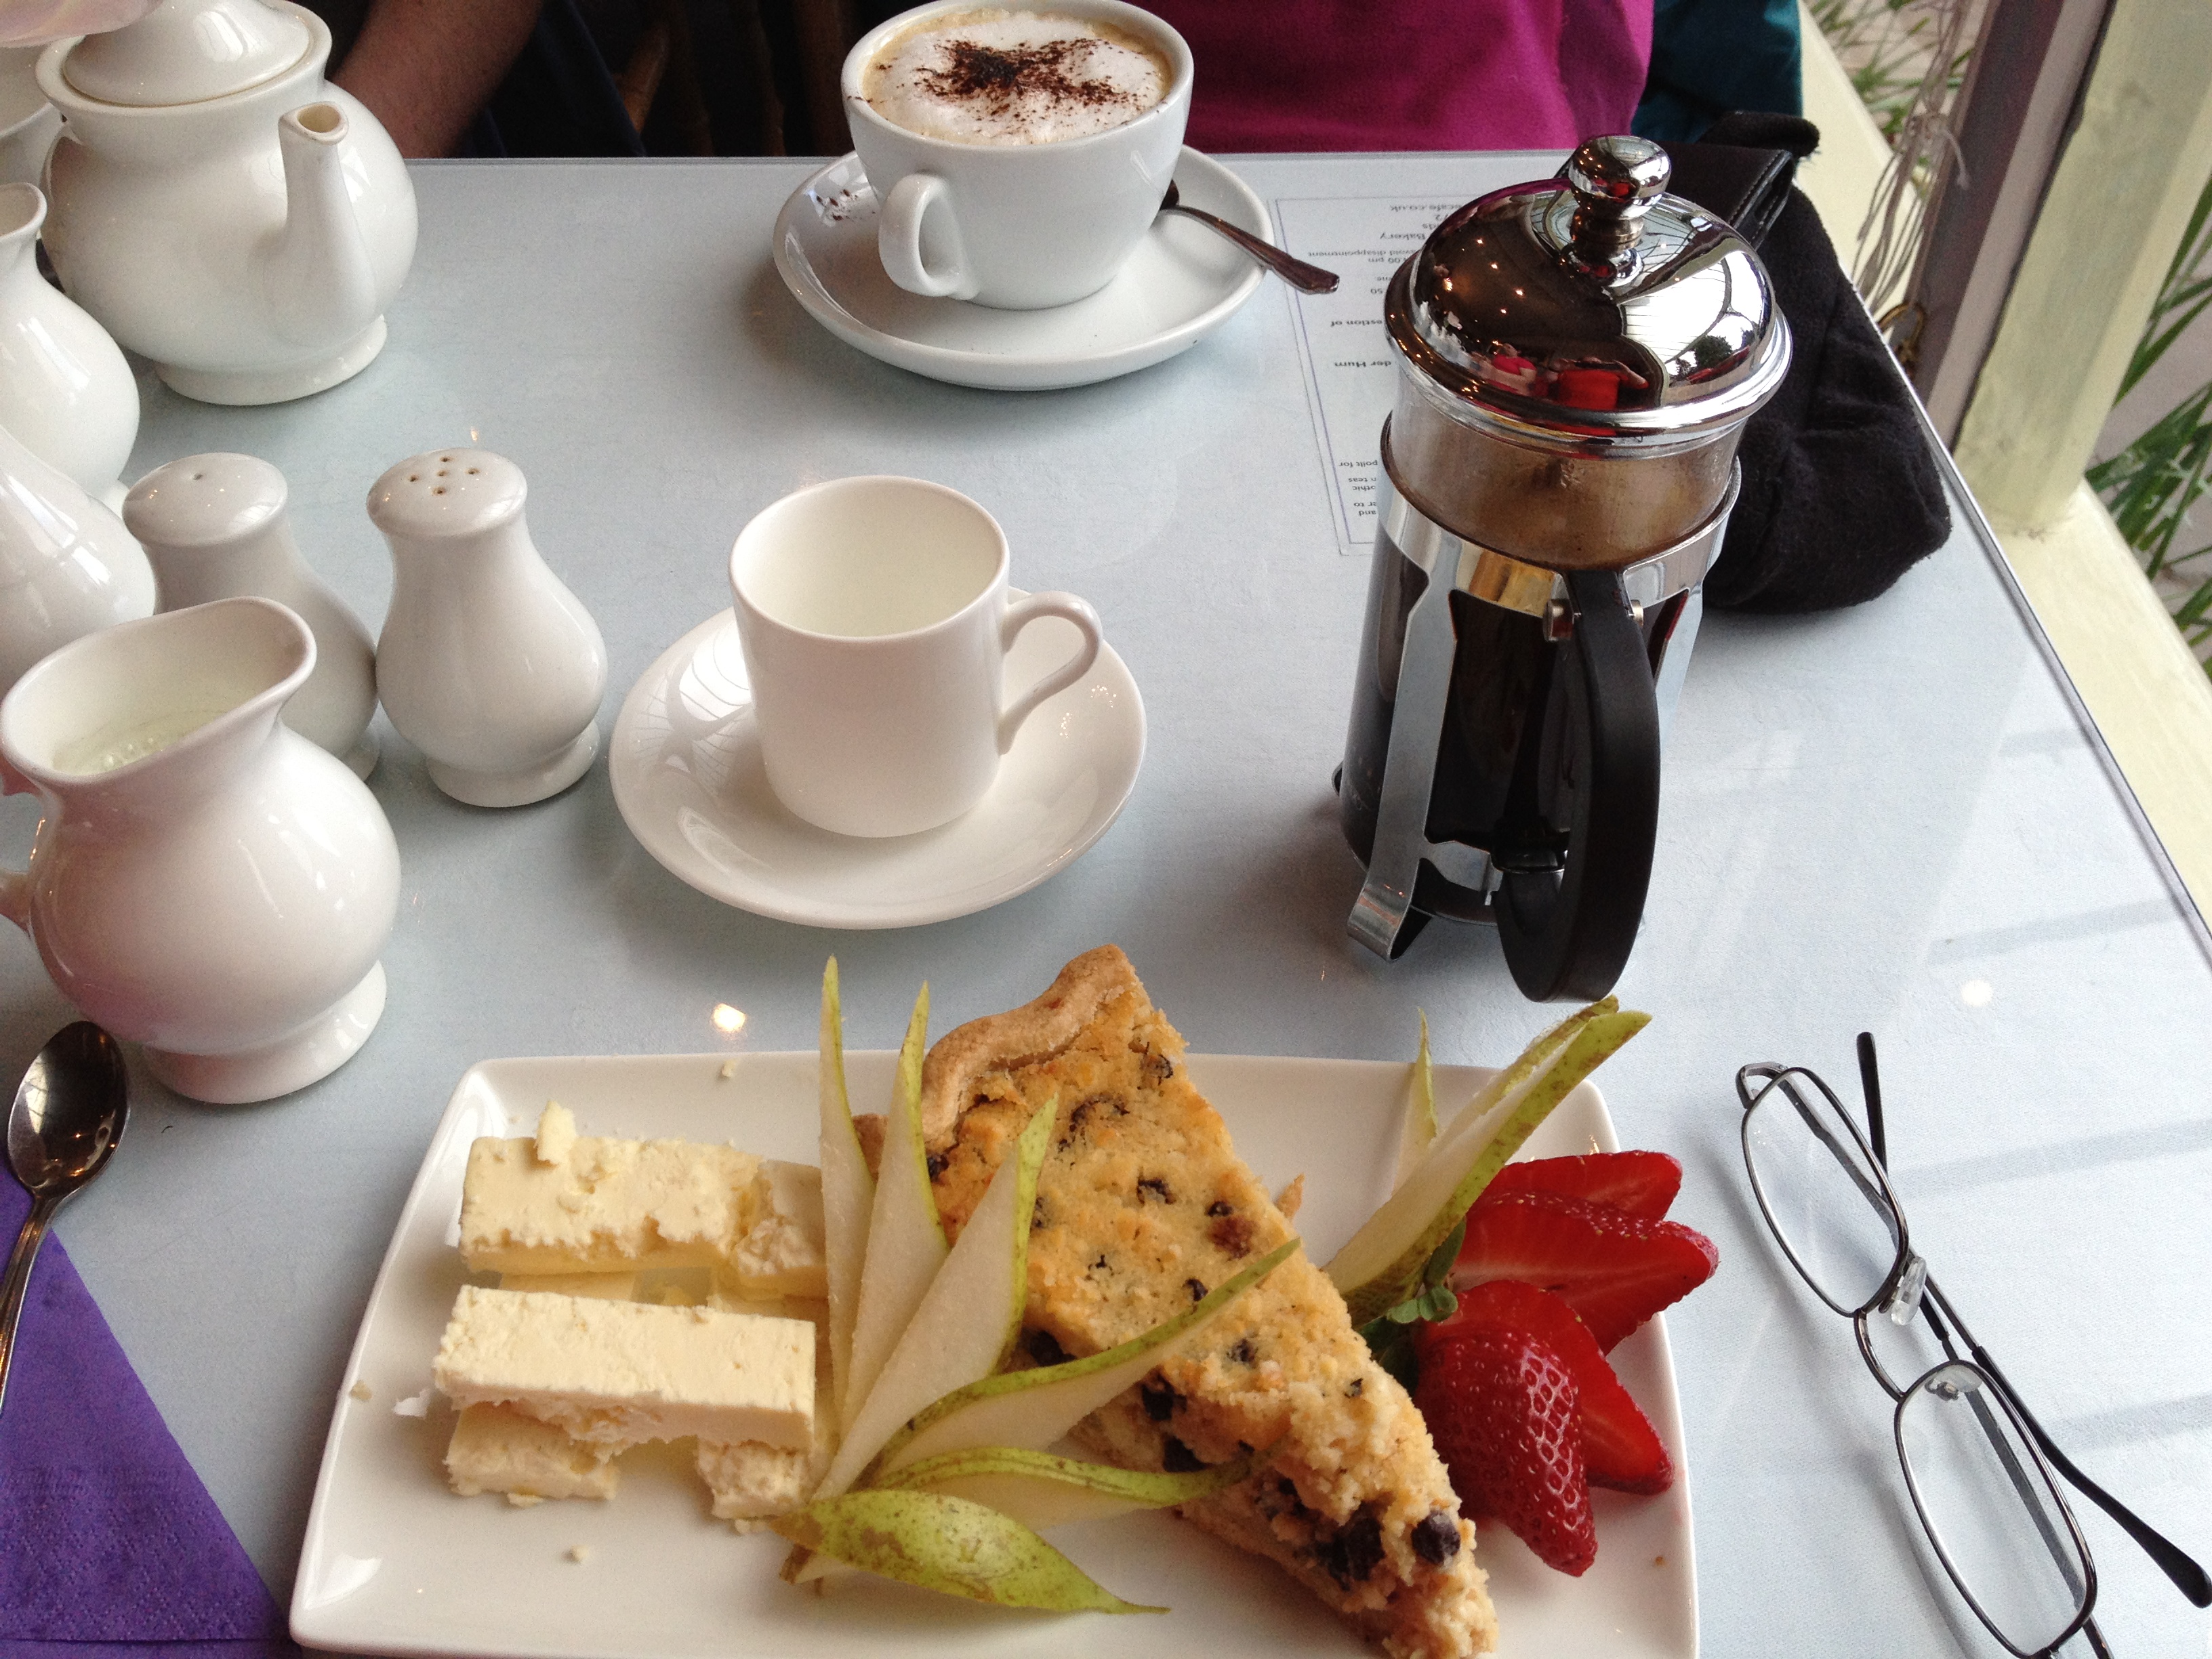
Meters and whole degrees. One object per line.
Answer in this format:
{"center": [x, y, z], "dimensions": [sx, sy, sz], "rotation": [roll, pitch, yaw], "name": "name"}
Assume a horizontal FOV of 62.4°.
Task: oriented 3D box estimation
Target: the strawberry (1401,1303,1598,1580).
{"center": [0.153, 0.242, 0.723], "dimensions": [0.058, 0.032, 0.096], "rotation": [-1, 69, -30], "name": "strawberry"}

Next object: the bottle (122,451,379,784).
{"center": [-0.414, -0.098, 0.879], "dimensions": [0.092, 0.153, 0.106], "rotation": [11, 45, 7], "name": "bottle"}

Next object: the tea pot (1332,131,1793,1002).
{"center": [0.219, -0.102, 0.839], "dimensions": [0.147, 0.395, 0.367], "rotation": [10, 55, 11], "name": "tea pot"}

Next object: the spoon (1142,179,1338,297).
{"center": [0.078, -0.418, 1.257], "dimensions": [0.053, 0.026, 0.230], "rotation": [-41, 44, -4], "name": "spoon"}

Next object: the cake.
{"center": [0.017, 0.215, 0.809], "dimensions": [0.132, 0.112, 0.335], "rotation": [-23, 67, -32], "name": "cake"}

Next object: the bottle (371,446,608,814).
{"center": [-0.323, -0.095, 0.945], "dimensions": [0.099, 0.152, 0.108], "rotation": [3, 46, -3], "name": "bottle"}
